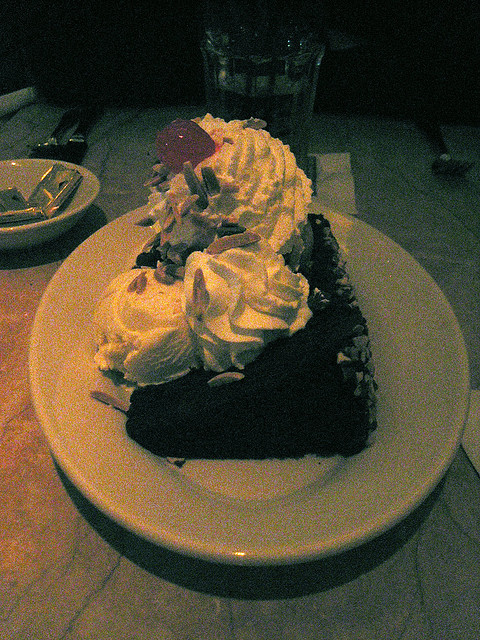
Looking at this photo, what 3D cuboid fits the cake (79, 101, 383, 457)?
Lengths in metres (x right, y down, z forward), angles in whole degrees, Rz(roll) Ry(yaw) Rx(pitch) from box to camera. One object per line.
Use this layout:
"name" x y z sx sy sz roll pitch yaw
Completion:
"cake" -0.060 -0.122 1.200 0.534 0.251 0.707 -10 46 -10

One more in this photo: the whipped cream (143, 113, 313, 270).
"whipped cream" 0.013 -0.240 1.316 0.387 0.281 0.362 3 36 6
